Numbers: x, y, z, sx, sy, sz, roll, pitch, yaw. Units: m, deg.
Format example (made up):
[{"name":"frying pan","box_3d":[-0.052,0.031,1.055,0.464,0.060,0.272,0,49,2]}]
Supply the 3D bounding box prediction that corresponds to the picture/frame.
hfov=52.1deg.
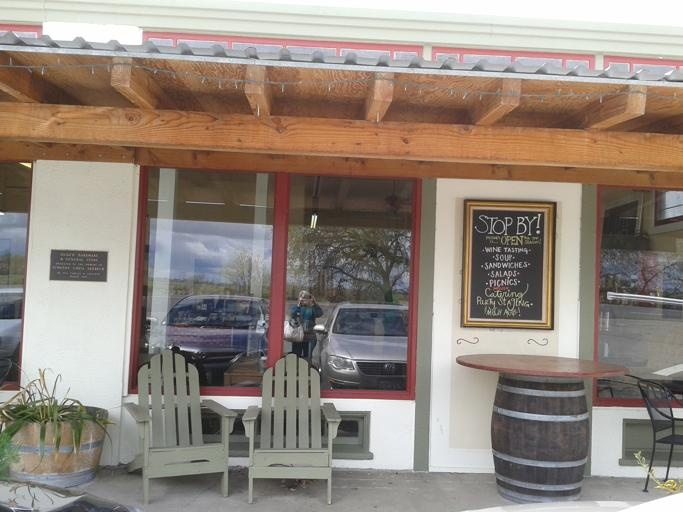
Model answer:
[{"name":"picture/frame","box_3d":[1.557,0.121,6.583,1.297,1.577,0.120,2,-2,-1]}]

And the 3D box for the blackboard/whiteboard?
[{"name":"blackboard/whiteboard","box_3d":[1.556,0.132,6.582,1.303,1.588,0.116,1,-6,-2]}]

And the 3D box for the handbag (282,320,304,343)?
[{"name":"handbag","box_3d":[-0.463,0.717,6.566,0.227,0.196,0.116,2,3,4]}]

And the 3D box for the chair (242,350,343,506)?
[{"name":"chair","box_3d":[-0.450,1.484,6.171,0.807,1.211,0.666,2,-5,-4]}]

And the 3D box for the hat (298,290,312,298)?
[{"name":"hat","box_3d":[-0.349,0.363,6.601,0.134,0.083,0.069,1,3,1]}]

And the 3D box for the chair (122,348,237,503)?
[{"name":"chair","box_3d":[-1.458,1.449,6.168,0.897,1.214,0.771,3,-5,-16]}]
